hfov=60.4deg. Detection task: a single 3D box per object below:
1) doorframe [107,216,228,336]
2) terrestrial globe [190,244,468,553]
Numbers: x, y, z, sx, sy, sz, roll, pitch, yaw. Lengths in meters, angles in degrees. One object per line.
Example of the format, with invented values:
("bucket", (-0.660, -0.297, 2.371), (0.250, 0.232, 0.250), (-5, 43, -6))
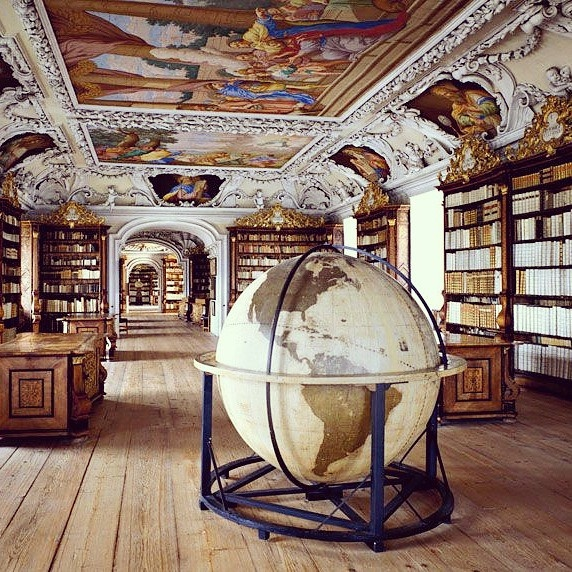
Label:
("doorframe", (-4.056, -0.402, 15.270), (0.393, 2.879, 3.147), (-32, -24, 28))
("terrestrial globe", (0.252, 0.563, 2.835), (1.430, 1.342, 1.402), (3, -4, -21))
